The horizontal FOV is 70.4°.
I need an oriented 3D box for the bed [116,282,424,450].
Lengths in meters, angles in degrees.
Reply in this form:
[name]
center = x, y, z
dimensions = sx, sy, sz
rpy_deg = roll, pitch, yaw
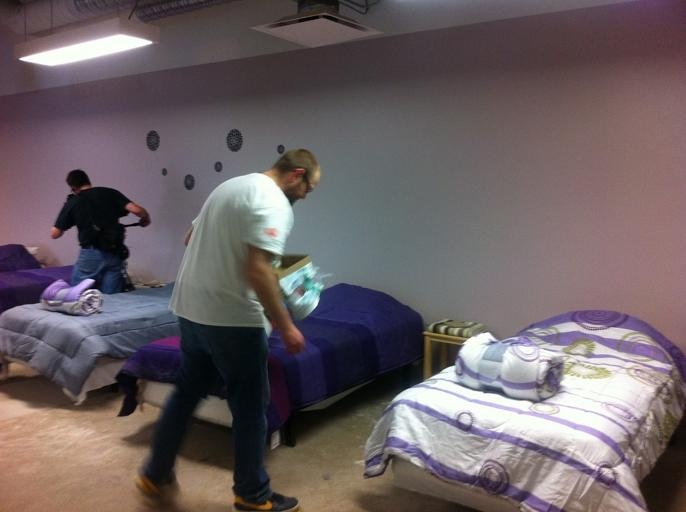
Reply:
[bed]
center = -0.189, 0.720, 3.621
dimensions = 1.094, 0.589, 1.715
rpy_deg = 5, 9, 36

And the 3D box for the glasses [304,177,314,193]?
[glasses]
center = -0.171, -0.365, 2.499
dimensions = 0.018, 0.062, 0.059
rpy_deg = 1, -5, -18

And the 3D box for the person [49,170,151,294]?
[person]
center = -2.539, -0.053, 5.097
dimensions = 0.848, 1.668, 0.608
rpy_deg = -1, 21, -23
